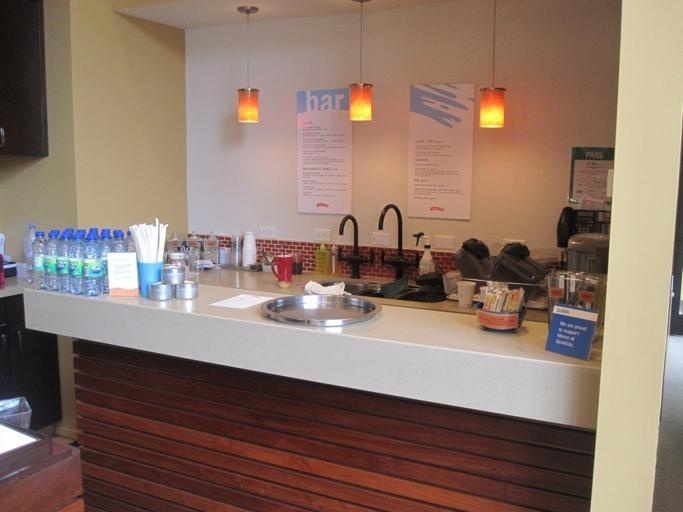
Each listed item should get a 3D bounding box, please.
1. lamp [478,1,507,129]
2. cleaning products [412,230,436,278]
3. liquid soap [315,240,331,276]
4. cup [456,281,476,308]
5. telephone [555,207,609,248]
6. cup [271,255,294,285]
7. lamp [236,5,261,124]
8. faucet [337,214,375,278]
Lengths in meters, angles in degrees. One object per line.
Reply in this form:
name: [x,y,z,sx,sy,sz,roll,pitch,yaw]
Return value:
lamp: [0.973,-1.243,3.470,0.174,0.849,0.330,2,5,15]
cleaning products: [0.577,-0.012,3.744,0.159,0.299,0.375,1,5,7]
liquid soap: [-0.137,0.020,4.063,0.137,0.218,0.090,2,5,14]
cup: [0.694,0.204,3.017,0.098,0.143,0.134,2,5,12]
telephone: [1.511,-0.161,3.298,0.332,0.268,0.206,3,-5,32]
cup: [-0.398,0.092,3.666,0.128,0.199,0.149,0,5,-9]
lamp: [-0.691,-1.397,4.073,0.154,0.831,0.561,0,5,-8]
faucet: [0.104,-0.074,3.979,0.240,0.460,0.317,1,5,2]
